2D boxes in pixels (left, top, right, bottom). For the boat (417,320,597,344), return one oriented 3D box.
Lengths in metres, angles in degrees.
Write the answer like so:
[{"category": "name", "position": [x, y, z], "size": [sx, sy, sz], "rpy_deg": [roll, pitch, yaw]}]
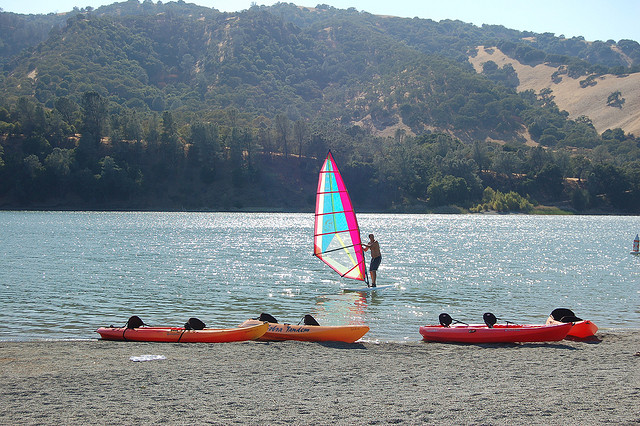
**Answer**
[{"category": "boat", "position": [45.039, 29.068, 240.947], "size": [44.180, 6.681, 13.412], "rpy_deg": [-1, -12, 1]}]
